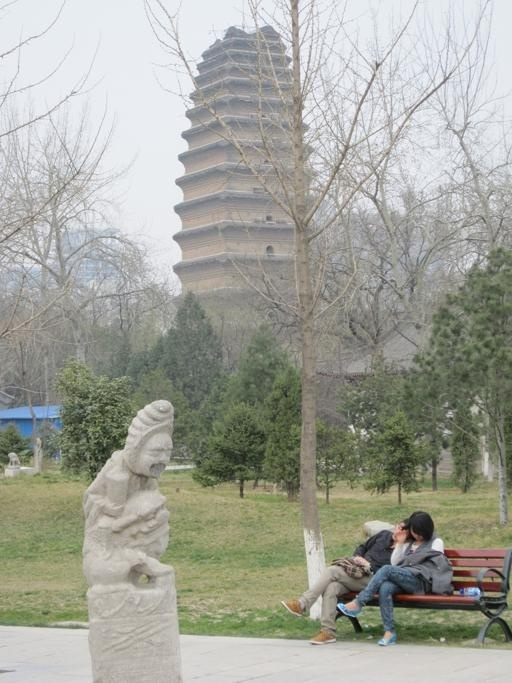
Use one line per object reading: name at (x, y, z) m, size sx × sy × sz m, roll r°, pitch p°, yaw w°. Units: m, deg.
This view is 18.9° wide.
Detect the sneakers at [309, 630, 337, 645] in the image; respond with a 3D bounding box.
sneakers at (0.713, 3.083, 16.138) m, size 0.288 × 0.127 × 0.111 m, roll 4°, pitch -10°, yaw -13°

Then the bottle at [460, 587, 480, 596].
bottle at (2.263, 2.599, 16.184) m, size 0.129 × 0.040 × 0.101 m, roll -2°, pitch 19°, yaw -3°

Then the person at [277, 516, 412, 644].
person at (0.979, 2.485, 16.512) m, size 1.202 × 1.532 × 0.607 m, roll 8°, pitch -2°, yaw -21°

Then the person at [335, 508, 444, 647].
person at (1.487, 2.456, 16.330) m, size 1.154 × 1.526 × 0.686 m, roll 9°, pitch -19°, yaw -15°

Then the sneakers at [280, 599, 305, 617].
sneakers at (0.398, 2.778, 16.224) m, size 0.232 × 0.140 × 0.250 m, roll -1°, pitch -10°, yaw 1°
